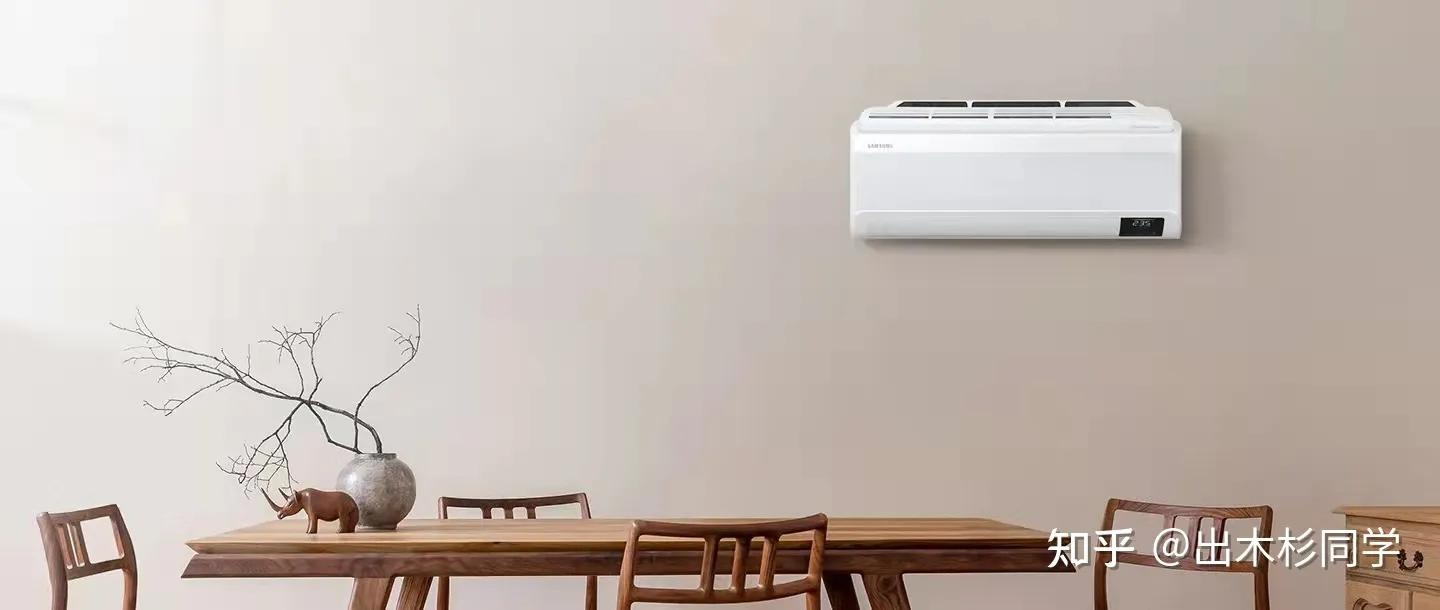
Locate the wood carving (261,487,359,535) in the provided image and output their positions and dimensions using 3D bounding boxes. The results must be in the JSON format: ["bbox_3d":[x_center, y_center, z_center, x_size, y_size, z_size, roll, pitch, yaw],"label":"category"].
[{"bbox_3d":[-2.454,1.248,6.240,0.537,0.229,0.172,11,-23,-35],"label":"wood carving"}]

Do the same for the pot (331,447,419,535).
[{"bbox_3d":[-2.197,1.187,6.578,0.593,0.420,0.580,2,-4,0],"label":"pot"}]
